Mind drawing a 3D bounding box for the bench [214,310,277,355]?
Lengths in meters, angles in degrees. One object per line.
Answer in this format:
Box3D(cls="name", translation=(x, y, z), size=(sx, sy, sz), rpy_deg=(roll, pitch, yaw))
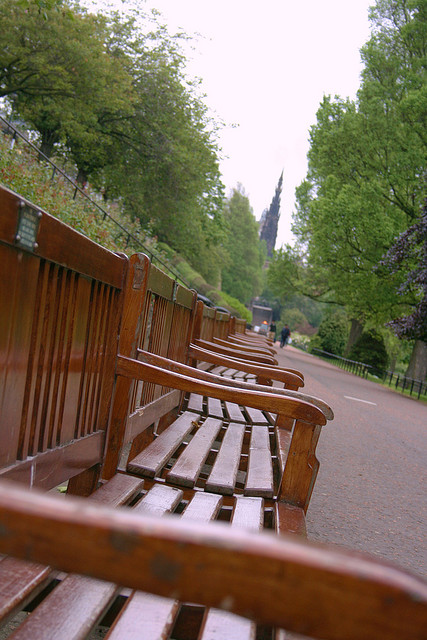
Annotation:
Box3D(cls="bench", translation=(0.470, 0.394, 9.494), size=(0.783, 0.939, 2.448), rpy_deg=(9, 1, -8))
